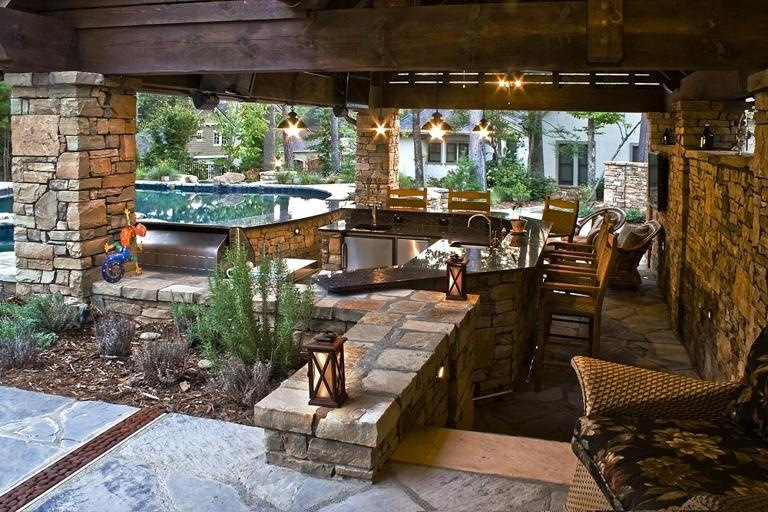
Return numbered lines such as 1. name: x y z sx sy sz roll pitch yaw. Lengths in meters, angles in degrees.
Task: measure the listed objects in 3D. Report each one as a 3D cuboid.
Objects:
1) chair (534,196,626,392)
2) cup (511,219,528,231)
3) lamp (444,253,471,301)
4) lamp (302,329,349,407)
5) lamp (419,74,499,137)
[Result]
1. chair: 2.182 0.444 5.701 0.855 1.385 2.251 4 13 18
2. cup: 1.628 -0.363 6.116 0.223 0.143 0.187 -2 8 0
3. lamp: 0.620 0.194 4.380 0.179 0.364 0.120 0 14 12
4. lamp: -0.331 0.648 2.919 0.243 0.385 0.255 -5 14 -8
5. lamp: 1.285 -2.605 8.941 1.043 1.002 2.905 -1 13 8
